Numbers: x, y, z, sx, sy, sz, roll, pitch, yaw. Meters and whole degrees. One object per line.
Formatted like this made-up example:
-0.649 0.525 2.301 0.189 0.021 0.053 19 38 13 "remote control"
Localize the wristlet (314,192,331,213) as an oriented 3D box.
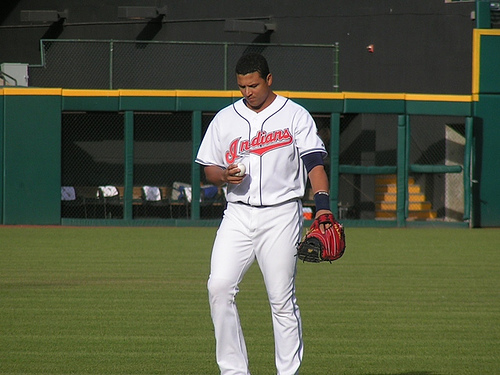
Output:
1.347 0.323 22.371 0.275 0.451 0.354 -3 0 26 "wristlet"
